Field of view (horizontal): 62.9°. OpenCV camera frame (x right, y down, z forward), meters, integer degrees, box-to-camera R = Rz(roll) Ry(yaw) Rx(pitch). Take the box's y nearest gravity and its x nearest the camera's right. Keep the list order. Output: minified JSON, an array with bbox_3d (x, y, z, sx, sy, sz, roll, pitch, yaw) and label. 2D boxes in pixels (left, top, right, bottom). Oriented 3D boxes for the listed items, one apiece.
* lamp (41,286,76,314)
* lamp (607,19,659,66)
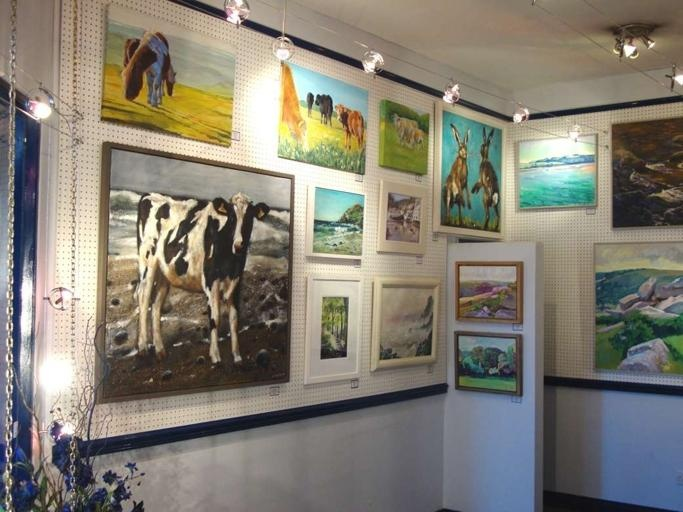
[{"bbox_3d":[-1.620,0.242,3.221,0.186,0.151,0.161,0,-2,-29],"label":"lamp"},{"bbox_3d":[2.396,-1.703,4.587,0.317,0.239,0.343,3,-10,2],"label":"lamp"}]
